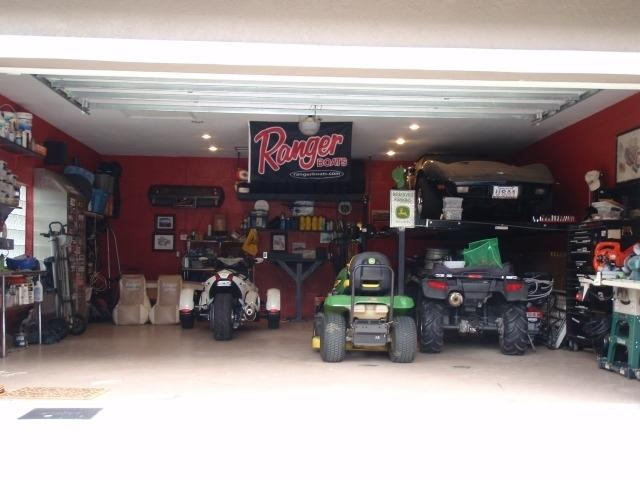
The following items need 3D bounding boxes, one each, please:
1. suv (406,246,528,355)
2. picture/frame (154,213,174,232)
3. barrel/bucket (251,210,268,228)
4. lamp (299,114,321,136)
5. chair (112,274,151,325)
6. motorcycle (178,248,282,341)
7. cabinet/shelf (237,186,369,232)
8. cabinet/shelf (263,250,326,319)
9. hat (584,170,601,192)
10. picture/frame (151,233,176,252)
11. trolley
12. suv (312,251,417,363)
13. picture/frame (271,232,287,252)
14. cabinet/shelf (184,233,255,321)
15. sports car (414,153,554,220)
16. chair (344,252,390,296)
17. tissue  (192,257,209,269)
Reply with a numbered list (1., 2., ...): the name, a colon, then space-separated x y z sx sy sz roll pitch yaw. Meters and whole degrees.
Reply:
1. suv: 2.222 0.981 7.956 1.289 1.212 2.126 0 -5 15
2. picture/frame: -3.132 -0.325 11.024 0.370 0.308 0.028 1 -2 -4
3. barrel/bucket: -1.164 -0.393 10.707 0.306 0.295 0.305 1 2 0
4. lamp: -0.150 -1.735 8.313 0.327 0.285 0.452 1 5 -2
5. chair: -3.353 1.082 9.818 0.638 0.819 0.619 0 5 -17
6. motorcycle: -1.507 0.857 9.084 1.548 1.322 2.593 1 0 -6
7. cabinet/shelf: -0.330 -1.031 12.373 2.672 1.049 3.818 -1 14 -3
8. cabinet/shelf: -0.547 0.852 10.450 1.321 1.512 0.452 1 5 4
9. hat: 3.810 -0.822 7.674 0.181 0.316 0.512 4 5 27
10. picture/frame: -3.153 0.059 11.010 0.372 0.311 0.039 1 -4 -2
11. trolley: -3.880 0.567 8.346 0.411 1.635 0.575 -6 0 -23
12. suv: 0.633 0.835 7.420 1.298 1.284 2.192 1 2 -5
13. picture/frame: -0.837 0.060 11.066 0.379 0.491 0.049 2 -8 -7
14. cabinet/shelf: -1.589 0.786 9.185 1.107 1.317 2.401 5 5 -9
15. sports car: 2.721 -0.994 9.362 1.880 0.913 3.090 1 6 3
16. chair: 0.637 0.464 7.040 0.645 0.725 0.824 1 4 -1
17. tissue : -2.243 0.448 10.317 0.235 0.225 0.149 -1 12 2
